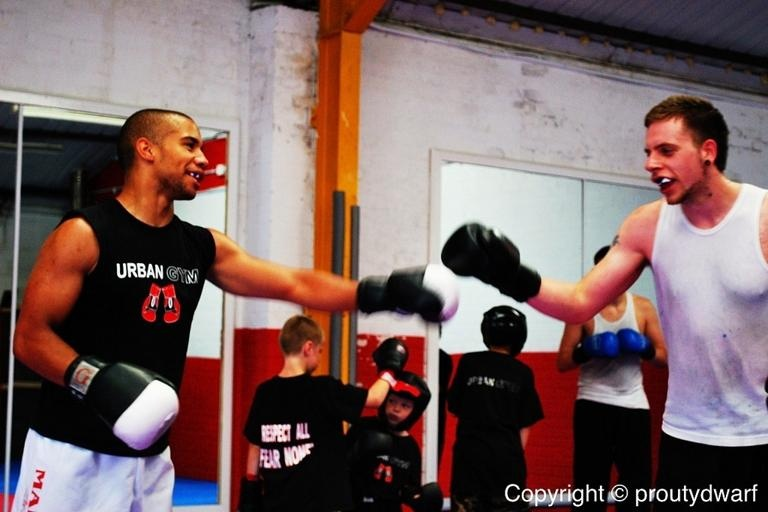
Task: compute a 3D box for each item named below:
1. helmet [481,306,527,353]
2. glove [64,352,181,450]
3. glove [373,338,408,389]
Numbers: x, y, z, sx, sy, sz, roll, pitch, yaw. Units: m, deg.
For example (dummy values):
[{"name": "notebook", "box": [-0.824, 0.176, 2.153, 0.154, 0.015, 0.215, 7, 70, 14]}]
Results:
[{"name": "helmet", "box": [0.880, 0.530, 6.476, 0.271, 0.348, 0.348, 3, -2, 23]}, {"name": "glove", "box": [-1.198, 0.663, 4.063, 0.494, 0.359, 0.198, 37, -20, 4]}, {"name": "glove", "box": [0.054, 0.674, 5.556, 0.229, 0.206, 0.215, 2, 21, 7]}]
